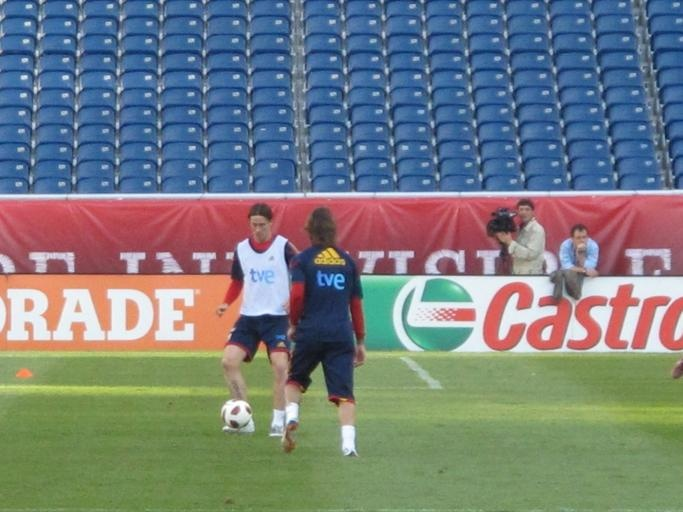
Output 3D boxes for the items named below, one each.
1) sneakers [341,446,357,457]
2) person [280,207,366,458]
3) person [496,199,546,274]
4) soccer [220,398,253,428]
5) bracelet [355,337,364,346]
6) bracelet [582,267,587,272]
[{"bbox_3d":[0.109,2.810,21.061,0.220,0.190,0.300,-1,7,-1],"label":"sneakers"},{"bbox_3d":[-0.277,1.113,21.029,1.165,3.550,0.792,-2,8,-1],"label":"person"},{"bbox_3d":[3.341,-0.354,27.654,0.918,1.459,1.067,-1,8,6],"label":"person"},{"bbox_3d":[-1.560,2.356,21.781,0.468,0.399,0.449,-4,-9,27],"label":"soccer"},{"bbox_3d":[0.244,1.238,21.194,0.100,0.082,0.091,1,3,-12],"label":"bracelet"},{"bbox_3d":[4.485,0.276,27.414,0.098,0.076,0.021,2,-10,2],"label":"bracelet"}]
